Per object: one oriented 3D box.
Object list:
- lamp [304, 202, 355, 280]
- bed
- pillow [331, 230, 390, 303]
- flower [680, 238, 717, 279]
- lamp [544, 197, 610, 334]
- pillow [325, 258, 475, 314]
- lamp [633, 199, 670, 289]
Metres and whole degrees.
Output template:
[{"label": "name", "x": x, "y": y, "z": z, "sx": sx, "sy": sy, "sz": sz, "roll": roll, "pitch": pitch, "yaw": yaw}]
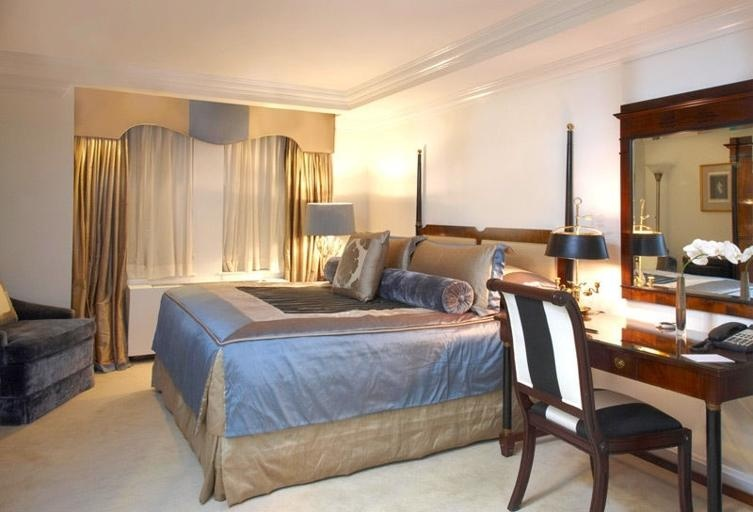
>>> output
[{"label": "lamp", "x": -0.667, "y": -0.163, "z": 6.379, "sx": 0.528, "sy": 0.813, "sz": 0.543, "roll": -6, "pitch": -3, "yaw": 38}, {"label": "bed", "x": -0.366, "y": 0.862, "z": 4.190, "sx": 2.197, "sy": 1.339, "sz": 2.206, "roll": 4, "pitch": -2, "yaw": -23}, {"label": "pillow", "x": -0.156, "y": 0.088, "z": 4.903, "sx": 0.351, "sy": 0.579, "sz": 0.761, "roll": -3, "pitch": 2, "yaw": -25}, {"label": "flower", "x": 2.088, "y": 0.004, "z": 3.483, "sx": 0.263, "sy": 0.267, "sz": 0.268, "roll": -2, "pitch": 2, "yaw": 17}, {"label": "lamp", "x": 1.526, "y": 0.061, "z": 4.025, "sx": 0.403, "sy": 0.901, "sz": 0.411, "roll": -1, "pitch": 3, "yaw": -12}, {"label": "pillow", "x": 0.238, "y": 0.241, "z": 4.245, "sx": 0.245, "sy": 0.275, "sz": 1.305, "roll": 18, "pitch": -5, "yaw": -38}, {"label": "lamp", "x": 2.031, "y": -0.097, "z": 3.977, "sx": 0.230, "sy": 0.653, "sz": 0.234, "roll": -5, "pitch": 5, "yaw": -25}]
